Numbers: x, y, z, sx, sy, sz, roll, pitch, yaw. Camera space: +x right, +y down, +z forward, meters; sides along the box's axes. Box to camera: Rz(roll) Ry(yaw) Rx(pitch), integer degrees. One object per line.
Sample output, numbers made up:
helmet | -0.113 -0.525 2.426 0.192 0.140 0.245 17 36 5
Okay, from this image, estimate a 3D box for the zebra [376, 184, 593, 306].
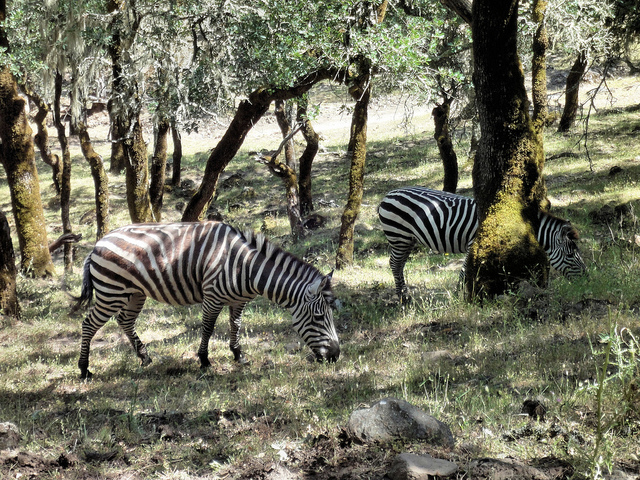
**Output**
zebra | 4.118 0.221 23.016 4.812 3.078 1.184 12 28 26
